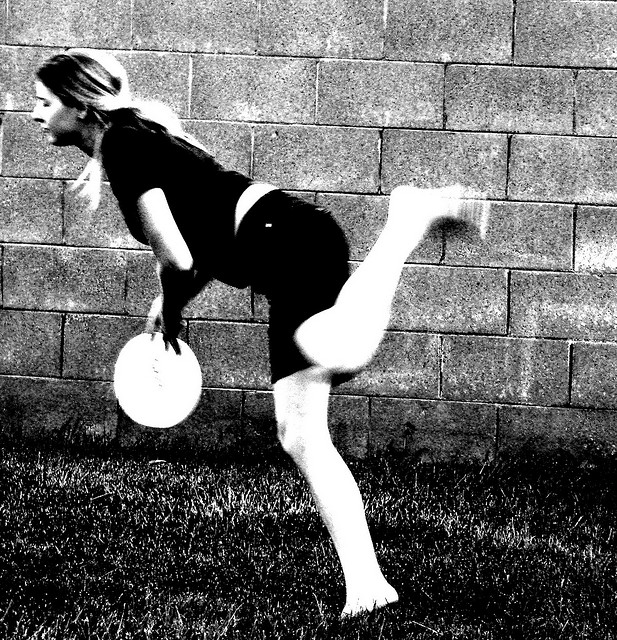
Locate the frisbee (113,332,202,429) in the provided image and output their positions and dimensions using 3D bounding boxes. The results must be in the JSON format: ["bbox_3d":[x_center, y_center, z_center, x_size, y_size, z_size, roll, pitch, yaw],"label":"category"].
[{"bbox_3d":[-0.638,0.253,5.813,0.376,0.629,0.392,-22,90,-1],"label":"frisbee"}]

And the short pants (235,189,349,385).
[{"bbox_3d":[-0.066,-0.134,5.017,0.281,0.487,0.660,-1,104,-17],"label":"short pants"}]
